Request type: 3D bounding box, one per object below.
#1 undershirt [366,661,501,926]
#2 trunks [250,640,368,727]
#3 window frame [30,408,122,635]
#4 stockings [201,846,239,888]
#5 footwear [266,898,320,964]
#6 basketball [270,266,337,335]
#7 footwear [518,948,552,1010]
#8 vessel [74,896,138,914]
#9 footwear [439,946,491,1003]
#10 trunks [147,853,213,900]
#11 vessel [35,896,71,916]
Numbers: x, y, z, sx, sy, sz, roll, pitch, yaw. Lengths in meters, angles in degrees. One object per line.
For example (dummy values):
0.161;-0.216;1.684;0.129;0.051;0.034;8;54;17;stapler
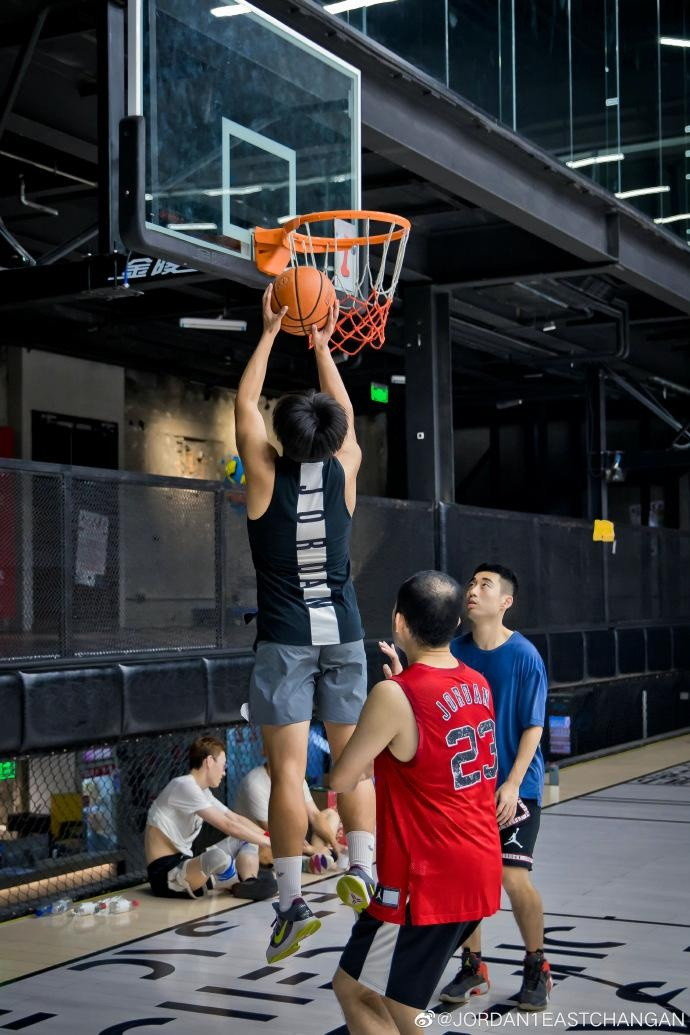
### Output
0.190;0.530;1.867;0.294;0.492;0.262;0;-9;-10;undershirt
-0.093;0.441;2.810;0.312;0.302;0.183;1;9;-9;trunks
-1.519;0.058;5.245;0.042;1.275;0.642;-4;-5;44;window frame
-0.672;1.838;5.054;0.142;0.106;0.255;25;-16;19;stockings
-0.147;1.125;2.596;0.130;0.209;0.303;-1;-9;-5;footwear
-0.121;-0.689;3.149;0.205;0.249;0.210;1;-4;7;basketball
0.618;1.505;3.143;0.073;0.106;0.225;-3;5;11;footwear
-1.220;1.970;4.878;0.267;0.069;0.063;-1;-10;-2;vessel
0.410;1.570;3.307;0.096;0.177;0.235;-6;-12;35;footwear
-0.901;1.947;5.147;0.276;0.147;0.234;-6;2;4;trunks
-1.478;1.976;4.866;0.177;0.062;0.071;-13;8;-17;vessel
